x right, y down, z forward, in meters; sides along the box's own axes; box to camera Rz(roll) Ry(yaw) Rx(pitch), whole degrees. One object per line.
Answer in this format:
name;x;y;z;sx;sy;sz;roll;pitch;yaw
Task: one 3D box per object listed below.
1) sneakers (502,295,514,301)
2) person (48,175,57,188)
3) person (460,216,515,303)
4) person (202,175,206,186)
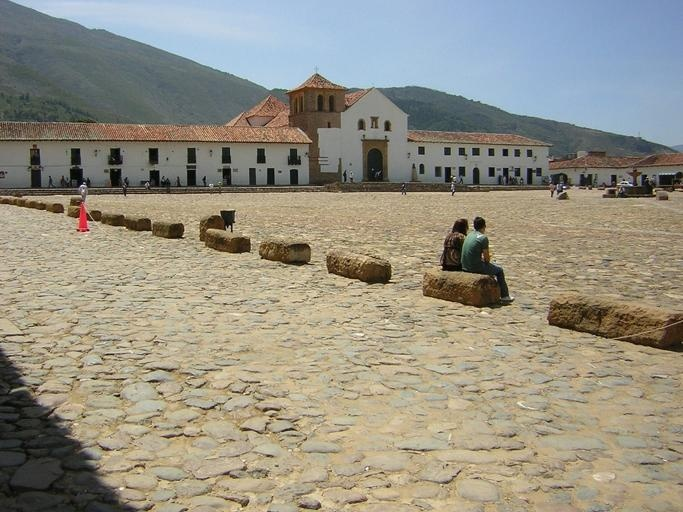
sneakers;2.235;0.562;7.283;0.194;0.060;0.061;-3;5;-16
person;-27.342;-7.043;51.007;0.631;1.047;0.401;8;15;26
person;1.968;0.144;7.349;0.781;0.870;0.438;7;14;21
person;-14.148;-7.761;55.953;0.486;0.922;0.856;-1;13;-14
